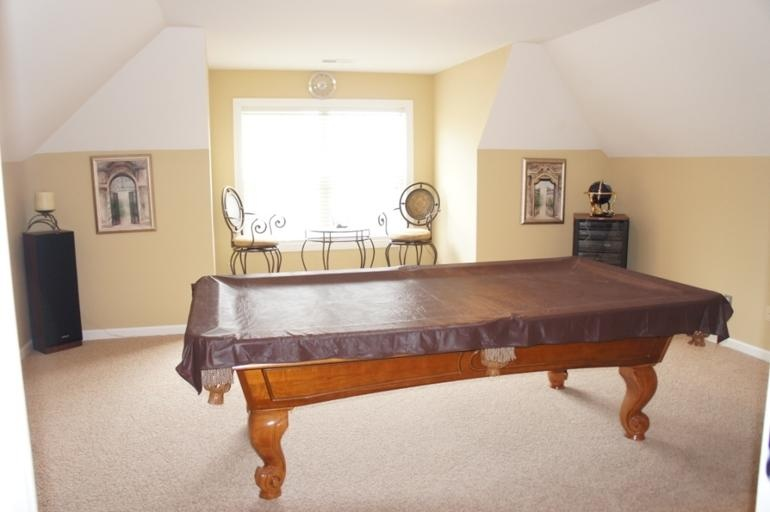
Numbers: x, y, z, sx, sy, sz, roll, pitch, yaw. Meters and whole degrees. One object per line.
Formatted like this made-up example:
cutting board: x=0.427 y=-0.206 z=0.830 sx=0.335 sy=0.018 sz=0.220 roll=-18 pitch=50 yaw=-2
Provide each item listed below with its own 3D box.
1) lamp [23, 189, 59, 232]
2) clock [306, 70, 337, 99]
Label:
lamp: x=-3.427 y=-0.452 z=5.444 sx=0.295 sy=0.394 sz=0.345 roll=-8 pitch=10 yaw=-33
clock: x=-0.841 y=-2.259 z=7.200 sx=0.336 sy=0.337 sz=0.108 roll=-4 pitch=13 yaw=-9
